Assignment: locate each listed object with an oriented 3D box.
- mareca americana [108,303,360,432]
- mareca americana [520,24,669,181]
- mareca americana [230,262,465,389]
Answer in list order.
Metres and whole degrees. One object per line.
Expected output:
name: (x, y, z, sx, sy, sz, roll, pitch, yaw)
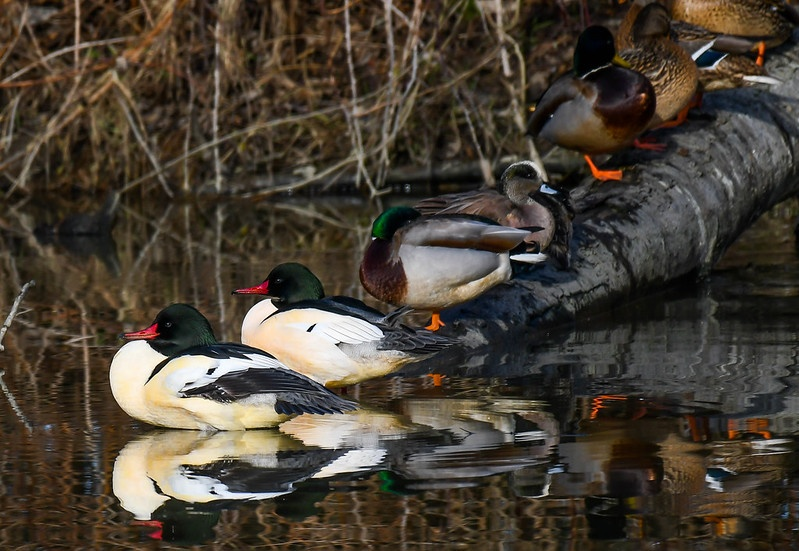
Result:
mareca americana: (-0.842, 0.492, 5.563, 1.343, 0.443, 0.573, 3, 0, 17)
mareca americana: (1.344, -1.294, 7.557, 0.802, 0.905, 0.401, 4, 18, 34)
mareca americana: (-0.280, 0.283, 6.061, 1.553, 0.621, 0.654, 2, 16, 39)
